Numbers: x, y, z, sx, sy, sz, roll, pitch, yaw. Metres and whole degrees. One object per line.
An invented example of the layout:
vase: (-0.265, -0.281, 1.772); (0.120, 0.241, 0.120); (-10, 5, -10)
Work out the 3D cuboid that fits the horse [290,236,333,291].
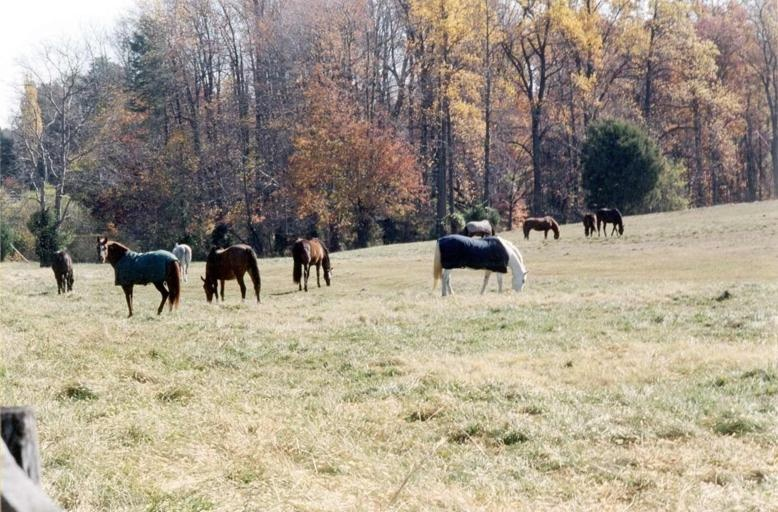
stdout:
horse: (-6.449, 0.568, 96.265); (1.454, 4.030, 6.623); (-1, 4, 17)
